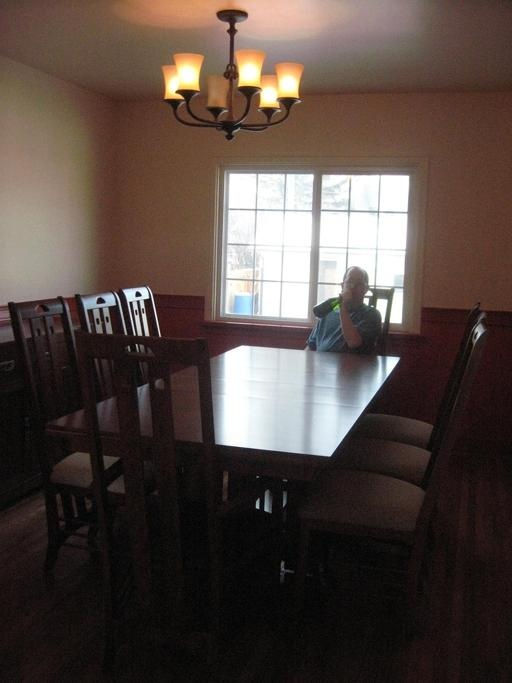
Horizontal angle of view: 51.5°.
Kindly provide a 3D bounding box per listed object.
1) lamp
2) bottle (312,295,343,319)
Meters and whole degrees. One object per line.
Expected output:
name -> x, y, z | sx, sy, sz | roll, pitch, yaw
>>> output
lamp -> -0.084, -1.237, 2.422 | 0.651, 0.572, 0.581 | 6, 18, 14
bottle -> 0.401, -0.187, 2.911 | 0.150, 0.058, 0.092 | -28, 6, -10
